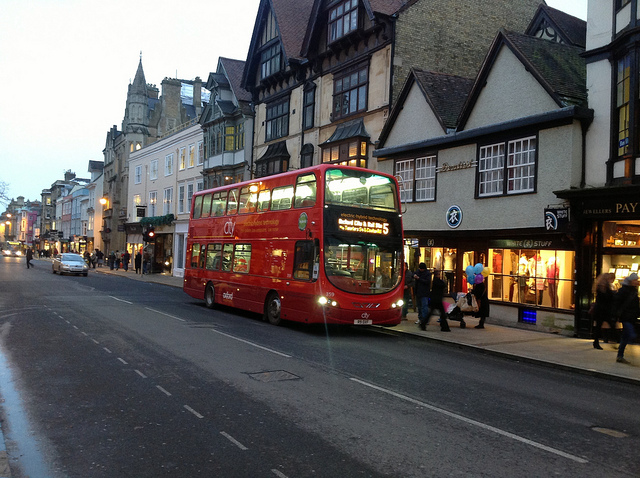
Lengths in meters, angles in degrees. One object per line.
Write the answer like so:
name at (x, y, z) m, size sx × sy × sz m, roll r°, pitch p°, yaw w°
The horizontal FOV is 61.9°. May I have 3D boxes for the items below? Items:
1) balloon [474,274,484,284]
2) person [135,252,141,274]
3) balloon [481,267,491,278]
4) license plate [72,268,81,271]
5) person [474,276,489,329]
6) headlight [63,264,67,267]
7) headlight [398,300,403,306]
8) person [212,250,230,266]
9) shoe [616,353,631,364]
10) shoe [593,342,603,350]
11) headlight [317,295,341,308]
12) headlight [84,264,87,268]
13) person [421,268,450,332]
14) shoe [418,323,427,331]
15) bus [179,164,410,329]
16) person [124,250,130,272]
balloon at (5.761, 1.427, 19.311) m, size 0.259 × 0.371 × 0.298 m, roll 4°, pitch 31°, yaw 22°
person at (-16.110, 2.184, 47.392) m, size 0.363 × 1.360 × 1.211 m, roll 1°, pitch 0°, yaw -22°
balloon at (6.154, 1.240, 19.856) m, size 0.258 × 0.352 × 0.282 m, roll 11°, pitch 23°, yaw 28°
license plate at (-18.497, 2.369, 40.662) m, size 0.514 × 0.134 × 0.109 m, roll 2°, pitch 0°, yaw -21°
person at (5.809, 2.283, 19.156) m, size 0.488 × 1.866 × 0.493 m, roll 1°, pitch 0°, yaw 5°
headlight at (-19.445, 2.087, 40.709) m, size 0.220 × 0.251 × 0.129 m, roll 1°, pitch -5°, yaw -10°
headlight at (2.560, 2.039, 16.950) m, size 0.042 × 0.171 × 0.296 m, roll 1°, pitch 0°, yaw 29°
person at (-3.990, 0.804, 21.819) m, size 0.501 × 1.061 × 0.503 m, roll 2°, pitch -3°, yaw -3°
shoe at (7.890, 3.069, 13.864) m, size 0.326 × 0.284 × 0.410 m, roll 1°, pitch 0°, yaw 32°
shoe at (8.208, 3.128, 15.736) m, size 0.246 × 0.230 × 0.424 m, roll 2°, pitch 0°, yaw 15°
headlight at (0.260, 1.892, 16.045) m, size 0.669 × 0.319 × 0.107 m, roll 2°, pitch 0°, yaw 4°
headlight at (-18.180, 2.146, 41.337) m, size 0.053 × 0.238 × 0.240 m, roll -2°, pitch -19°, yaw 10°
person at (4.008, 2.122, 18.247) m, size 0.902 × 2.023 × 1.098 m, roll 1°, pitch 0°, yaw 18°
shoe at (3.491, 2.961, 18.105) m, size 0.281 × 0.241 × 0.785 m, roll 2°, pitch -1°, yaw 9°
bus at (-1.803, 0.458, 21.368) m, size 3.419 × 5.764 × 11.428 m, roll 5°, pitch -4°, yaw -36°
person at (-18.778, 2.258, 51.884) m, size 0.424 × 1.366 × 2.231 m, roll 1°, pitch 0°, yaw -21°
